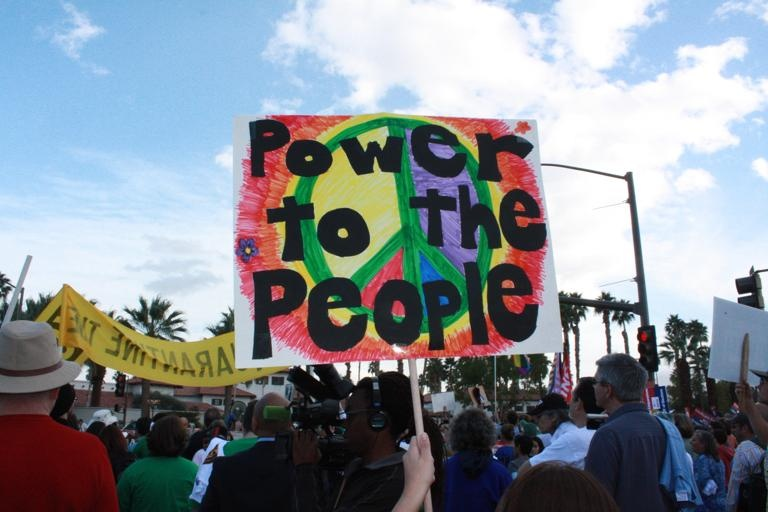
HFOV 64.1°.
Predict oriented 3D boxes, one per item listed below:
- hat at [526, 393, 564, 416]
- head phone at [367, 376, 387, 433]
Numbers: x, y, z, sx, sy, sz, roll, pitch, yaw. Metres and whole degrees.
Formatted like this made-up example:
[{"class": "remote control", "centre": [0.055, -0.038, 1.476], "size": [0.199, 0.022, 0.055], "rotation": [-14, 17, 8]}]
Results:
[{"class": "hat", "centre": [1.951, 1.742, 7.232], "size": [0.351, 0.192, 0.245], "rotation": [1, -13, 2]}, {"class": "head phone", "centre": [-0.036, 1.077, 4.515], "size": [0.115, 0.381, 0.111], "rotation": [3, -17, -10]}]
